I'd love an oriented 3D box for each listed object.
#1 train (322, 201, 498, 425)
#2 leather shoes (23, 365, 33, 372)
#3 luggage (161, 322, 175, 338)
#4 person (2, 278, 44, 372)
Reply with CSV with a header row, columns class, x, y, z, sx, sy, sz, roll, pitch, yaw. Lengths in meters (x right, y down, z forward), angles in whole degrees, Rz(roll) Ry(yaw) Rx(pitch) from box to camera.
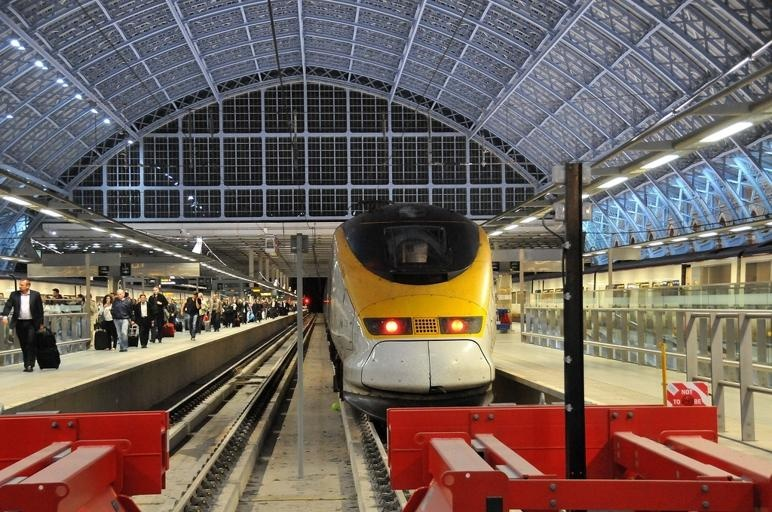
class,x,y,z,sx,sy,sz,roll,pitch,yaw
train,0.589,1.087,11.093,3.190,4.143,2.264,-1,2,8
leather shoes,-10.027,3.167,14.875,0.359,0.132,0.107,0,-4,24
luggage,-11.815,4.056,29.083,0.795,0.705,0.752,1,5,5
person,-9.847,1.952,14.472,0.869,2.641,1.361,-3,3,-35
